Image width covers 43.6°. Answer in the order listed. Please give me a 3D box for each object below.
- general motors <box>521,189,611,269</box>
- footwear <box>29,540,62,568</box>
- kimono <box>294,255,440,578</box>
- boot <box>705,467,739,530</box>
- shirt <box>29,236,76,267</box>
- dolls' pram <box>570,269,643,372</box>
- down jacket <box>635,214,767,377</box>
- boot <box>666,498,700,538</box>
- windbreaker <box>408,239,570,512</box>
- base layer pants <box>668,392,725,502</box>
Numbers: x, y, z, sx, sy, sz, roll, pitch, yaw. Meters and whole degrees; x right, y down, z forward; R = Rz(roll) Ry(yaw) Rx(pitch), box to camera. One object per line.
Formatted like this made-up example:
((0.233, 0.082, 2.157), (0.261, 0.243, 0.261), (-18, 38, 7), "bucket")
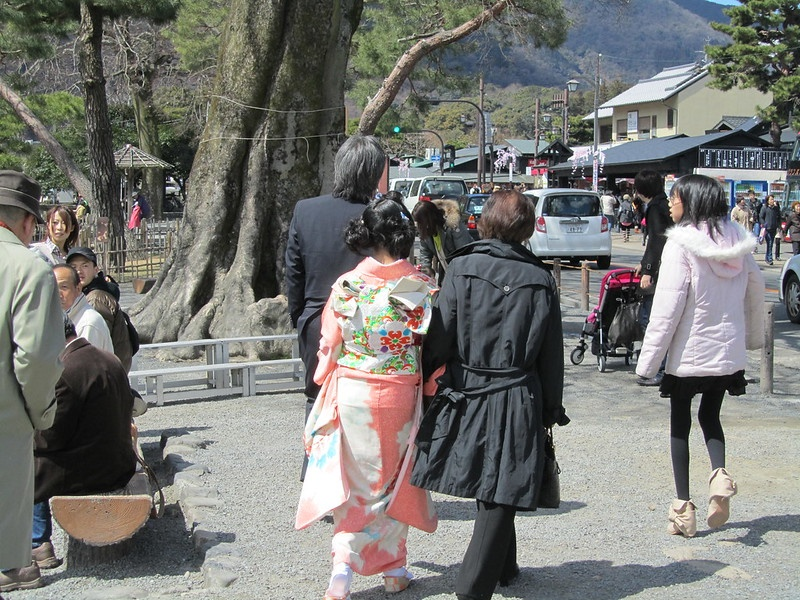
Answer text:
((3.575, -1.510, 22.070), (1.689, 1.502, 3.062), (-1, 11, -4), "general motors")
((-2.439, 1.760, 6.943), (0.104, 0.122, 0.249), (-3, 9, -39), "footwear")
((-0.161, 0.700, 6.467), (0.842, 2.092, 0.715), (3, -20, -4), "kimono")
((2.201, 1.339, 6.887), (0.193, 0.415, 0.159), (6, 17, 2), "boot")
((-2.794, -0.390, 8.140), (0.188, 0.346, 0.348), (-10, -7, 39), "shirt")
((2.364, 0.177, 11.331), (0.801, 1.135, 1.041), (0, 1, 9), "dolls' pram")
((2.148, 0.005, 7.056), (1.066, 1.109, 0.590), (-8, 11, -18), "down jacket")
((1.994, 1.535, 6.992), (0.160, 0.248, 0.207), (-10, -1, 25), "boot")
((0.535, 0.445, 6.096), (0.920, 1.595, 0.397), (0, 5, 10), "windbreaker")
((2.149, 0.978, 6.999), (0.238, 1.013, 0.176), (0, -35, 44), "base layer pants")
